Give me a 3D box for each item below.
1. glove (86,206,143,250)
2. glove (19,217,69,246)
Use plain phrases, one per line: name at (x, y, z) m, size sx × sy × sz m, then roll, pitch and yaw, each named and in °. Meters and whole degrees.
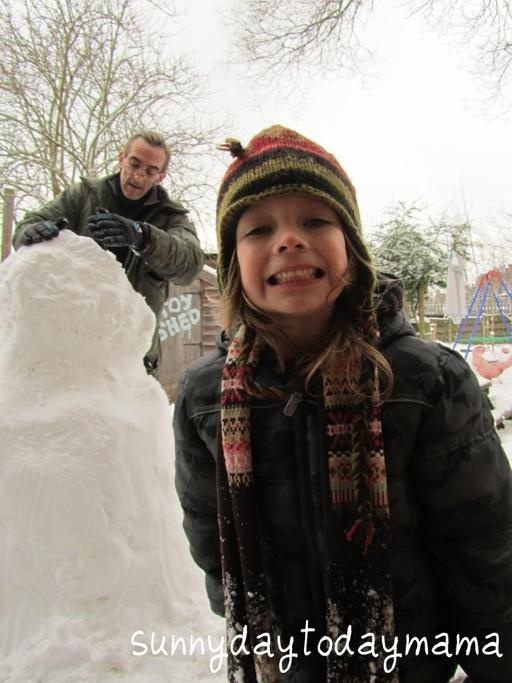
glove at (-0.581, -0.466, 2.671) m, size 0.116 × 0.093 × 0.372 m, roll -6°, pitch 0°, yaw 6°
glove at (-0.769, -0.397, 2.316) m, size 0.162 × 0.123 × 0.191 m, roll 2°, pitch 2°, yaw -20°
